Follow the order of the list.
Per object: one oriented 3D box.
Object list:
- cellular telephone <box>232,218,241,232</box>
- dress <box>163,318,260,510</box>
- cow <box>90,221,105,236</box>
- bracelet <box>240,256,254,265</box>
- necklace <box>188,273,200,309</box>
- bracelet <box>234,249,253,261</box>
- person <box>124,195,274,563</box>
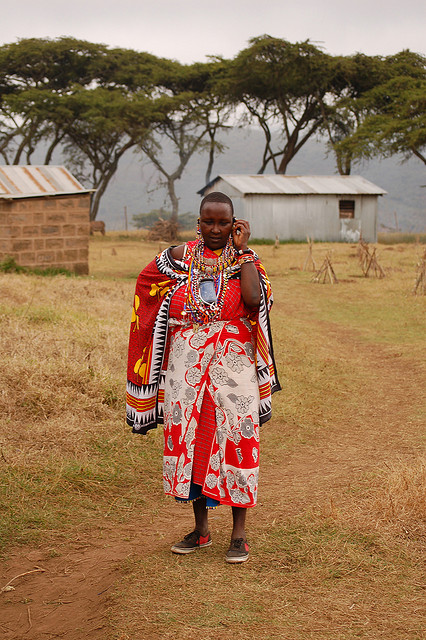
[{"bbox_3d":[0.127,-0.536,4.575,0.033,0.069,0.055,-8,6,20],"label":"cellular telephone"},{"bbox_3d":[-0.011,0.511,4.543,0.511,1.050,0.394,1,11,-4],"label":"dress"},{"bbox_3d":[-4.683,-3.722,33.089,0.536,0.510,1.057,0,10,-11],"label":"cow"},{"bbox_3d":[0.184,-0.332,4.526,0.074,0.045,0.038,1,11,-6],"label":"bracelet"},{"bbox_3d":[-0.113,-0.162,4.499,0.040,0.160,0.172,0,10,-11],"label":"necklace"},{"bbox_3d":[0.172,-0.373,4.575,0.078,0.021,0.075,-21,-8,-33],"label":"bracelet"},{"bbox_3d":[-0.105,0.321,4.586,0.847,2.036,0.525,4,11,8],"label":"person"}]
